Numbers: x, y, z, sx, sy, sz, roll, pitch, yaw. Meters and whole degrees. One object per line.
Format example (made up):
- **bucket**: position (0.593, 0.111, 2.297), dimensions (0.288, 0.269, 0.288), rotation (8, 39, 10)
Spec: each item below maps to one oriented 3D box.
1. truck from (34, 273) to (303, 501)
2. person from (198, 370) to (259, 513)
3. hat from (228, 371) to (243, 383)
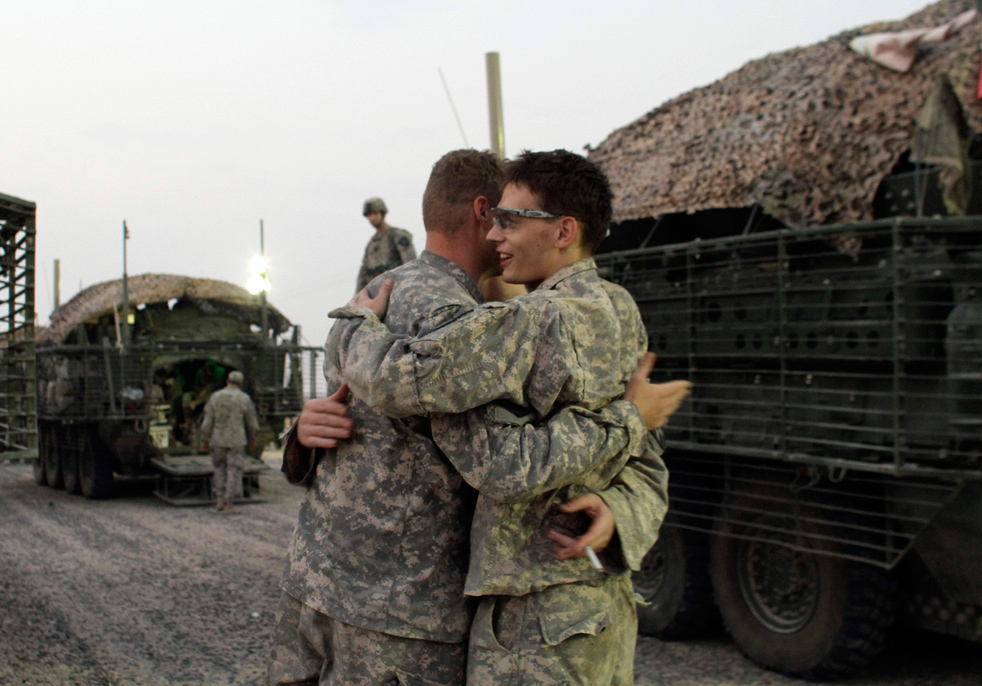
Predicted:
- **truck**: position (-5.497, 0.636, 15.386), dimensions (4.173, 3.956, 6.903), rotation (0, 4, -34)
- **person**: position (-3.834, 1.567, 13.005), dimensions (0.736, 1.706, 0.760), rotation (-1, 2, -30)
- **hat**: position (-3.914, 0.592, 13.441), dimensions (0.225, 0.261, 0.279), rotation (3, 19, -17)
